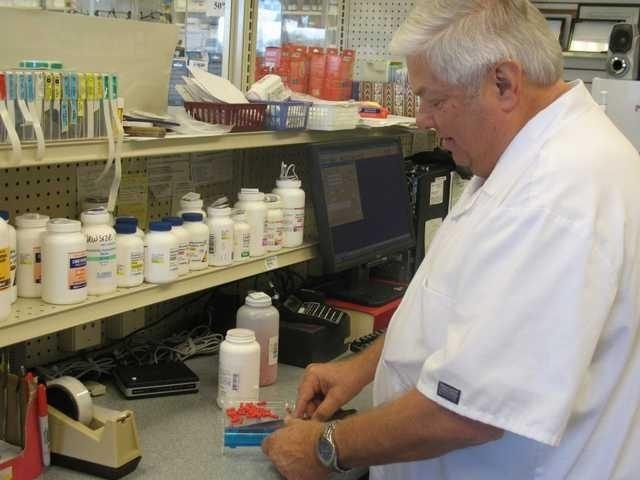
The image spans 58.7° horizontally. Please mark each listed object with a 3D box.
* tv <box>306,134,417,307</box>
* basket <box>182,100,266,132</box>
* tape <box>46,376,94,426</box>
[{"bbox_3d":[0.159,-0.080,2.407,0.123,0.678,0.790,8,10,34],"label":"tv"},{"bbox_3d":[-0.312,-0.443,1.882,0.135,0.079,0.186,-13,22,-40],"label":"basket"},{"bbox_3d":[-0.671,0.434,1.526,0.148,0.102,0.059,10,20,36],"label":"tape"}]
